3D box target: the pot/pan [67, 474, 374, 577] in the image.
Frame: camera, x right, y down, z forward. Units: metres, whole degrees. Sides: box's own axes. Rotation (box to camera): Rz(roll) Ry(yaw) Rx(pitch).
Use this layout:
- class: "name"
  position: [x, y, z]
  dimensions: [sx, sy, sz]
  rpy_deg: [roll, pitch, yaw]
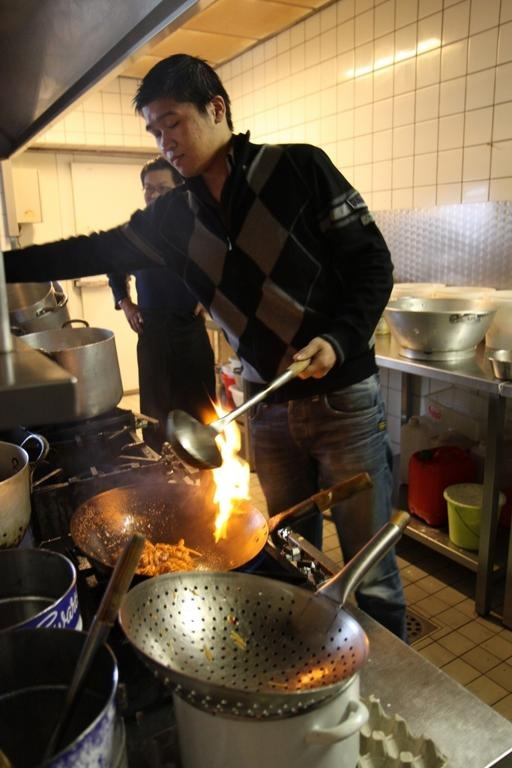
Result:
- class: "pot/pan"
  position: [-0.142, 0.233, 0.989]
  dimensions: [0.335, 0.063, 0.216]
  rpy_deg: [-6, 19, -32]

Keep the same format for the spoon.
- class: "spoon"
  position: [0.018, 0.034, 1.042]
  dimensions: [0.178, 0.112, 0.321]
  rpy_deg: [-30, -12, 10]
